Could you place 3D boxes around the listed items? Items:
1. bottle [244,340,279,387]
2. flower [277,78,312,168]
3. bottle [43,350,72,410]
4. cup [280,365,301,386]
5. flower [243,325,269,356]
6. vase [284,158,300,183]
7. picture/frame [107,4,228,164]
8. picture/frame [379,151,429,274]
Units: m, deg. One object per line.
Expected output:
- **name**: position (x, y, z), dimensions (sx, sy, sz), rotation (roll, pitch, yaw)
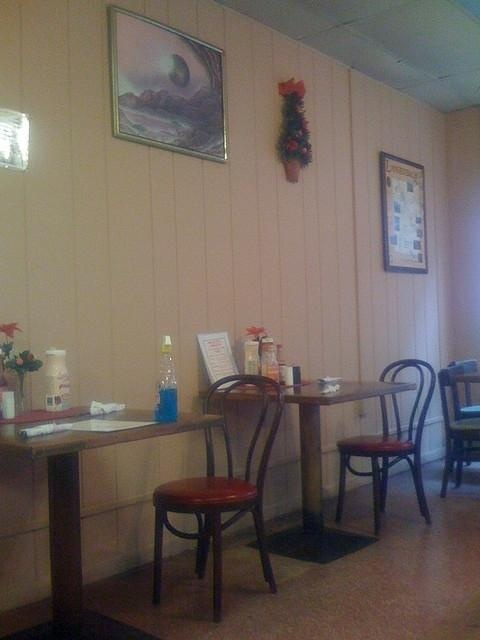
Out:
- **bottle**: position (0.124, 0.221, 2.991), dimensions (0.165, 0.346, 0.178), rotation (1, -3, 0)
- **flower**: position (0.322, -1.128, 3.504), dimensions (0.210, 0.475, 0.119), rotation (0, -3, -11)
- **bottle**: position (-0.634, 0.207, 2.107), dimensions (0.070, 0.206, 0.143), rotation (0, -3, -15)
- **cup**: position (0.244, 0.288, 3.055), dimensions (0.061, 0.131, 0.112), rotation (-5, -9, 34)
- **flower**: position (0.080, 0.113, 3.146), dimensions (0.108, 0.201, 0.110), rotation (0, 1, -40)
- **vase**: position (0.306, -0.852, 3.525), dimensions (0.106, 0.136, 0.096), rotation (-1, 1, -36)
- **picture/frame**: position (-0.352, -1.074, 2.793), dimensions (0.054, 0.711, 0.784), rotation (-4, -5, 34)
- **picture/frame**: position (1.225, -0.791, 4.586), dimensions (0.065, 1.122, 0.839), rotation (-6, -6, 32)
